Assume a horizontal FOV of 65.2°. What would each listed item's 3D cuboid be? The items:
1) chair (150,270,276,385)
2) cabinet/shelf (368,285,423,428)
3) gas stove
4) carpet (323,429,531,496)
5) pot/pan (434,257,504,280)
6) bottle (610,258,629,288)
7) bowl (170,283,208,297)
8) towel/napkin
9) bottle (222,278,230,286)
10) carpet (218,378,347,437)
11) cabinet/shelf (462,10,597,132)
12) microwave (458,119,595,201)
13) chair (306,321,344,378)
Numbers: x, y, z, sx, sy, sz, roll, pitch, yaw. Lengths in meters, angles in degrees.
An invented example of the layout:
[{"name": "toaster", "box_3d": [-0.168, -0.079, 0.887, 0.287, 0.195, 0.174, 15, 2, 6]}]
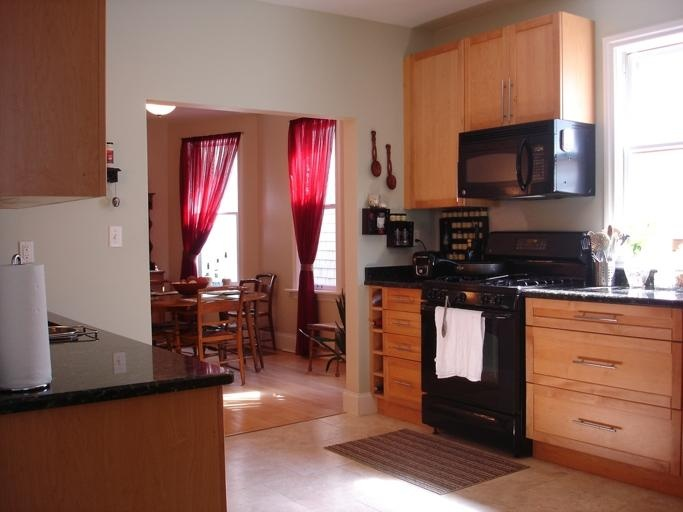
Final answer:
[{"name": "chair", "box_3d": [-1.305, 0.682, 5.617, 1.087, 0.765, 1.109, -1, -1, -28]}, {"name": "cabinet/shelf", "box_3d": [0.426, 0.763, 4.220, 0.166, 1.078, 0.578, -2, 2, -28]}, {"name": "gas stove", "box_3d": [1.145, 0.236, 3.892, 1.034, 0.262, 1.103, -3, 1, -14]}, {"name": "carpet", "box_3d": [0.564, 1.308, 3.486, 1.141, 0.015, 0.752, 1, 3, 43]}, {"name": "pot/pan", "box_3d": [1.009, 0.104, 4.037, 0.309, 0.111, 0.238, 2, 0, -2]}, {"name": "bottle", "box_3d": [1.875, 0.112, 3.575, 0.107, 0.168, 0.094, 0, 2, 19]}, {"name": "bowl", "box_3d": [-1.612, 0.342, 5.696, 0.248, 0.095, 0.256, -1, -4, 0]}, {"name": "towel/napkin", "box_3d": [0.813, 0.589, 3.587, 0.088, 0.639, 0.514, 4, -3, -42]}, {"name": "bottle", "box_3d": [-1.418, 0.317, 6.591, 0.069, 0.076, 0.078, 3, 5, 40]}, {"name": "carpet", "box_3d": [-0.475, 1.267, 4.670, 1.077, 0.032, 1.406, -2, 3, -13]}, {"name": "cabinet/shelf", "box_3d": [1.327, -1.299, 3.861, 0.910, 0.731, 0.390, 1, 3, 33]}, {"name": "microwave", "box_3d": [1.408, -0.672, 3.851, 0.518, 0.521, 0.779, 3, -2, -32]}, {"name": "chair", "box_3d": [-0.153, 1.016, 5.989, 0.475, 0.599, 0.565, -2, -2, 25]}]
